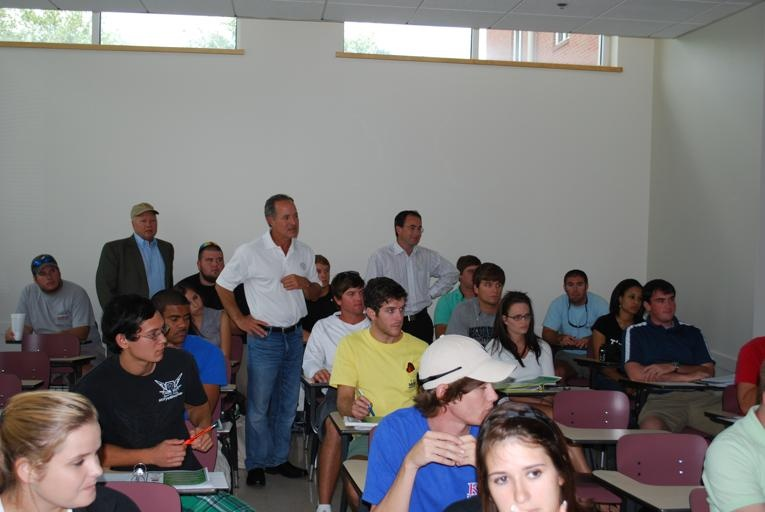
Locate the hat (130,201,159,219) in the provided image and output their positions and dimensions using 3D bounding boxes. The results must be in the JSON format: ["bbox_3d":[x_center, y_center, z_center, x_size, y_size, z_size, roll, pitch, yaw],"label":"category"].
[{"bbox_3d":[-2.551,-0.476,6.080,0.200,0.123,0.288,-8,-3,-36],"label":"hat"}]

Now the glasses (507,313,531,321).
[{"bbox_3d":[1.072,0.474,4.515,0.195,0.056,0.060,-3,9,-19],"label":"glasses"}]

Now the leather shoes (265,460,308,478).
[{"bbox_3d":[-0.795,1.787,4.831,0.342,0.150,0.136,-1,-1,7],"label":"leather shoes"}]

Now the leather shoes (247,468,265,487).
[{"bbox_3d":[-1.024,1.768,4.627,0.152,0.117,0.105,-1,9,-8],"label":"leather shoes"}]

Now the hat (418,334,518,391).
[{"bbox_3d":[0.362,0.472,2.567,0.341,0.189,0.238,-12,2,14],"label":"hat"}]
